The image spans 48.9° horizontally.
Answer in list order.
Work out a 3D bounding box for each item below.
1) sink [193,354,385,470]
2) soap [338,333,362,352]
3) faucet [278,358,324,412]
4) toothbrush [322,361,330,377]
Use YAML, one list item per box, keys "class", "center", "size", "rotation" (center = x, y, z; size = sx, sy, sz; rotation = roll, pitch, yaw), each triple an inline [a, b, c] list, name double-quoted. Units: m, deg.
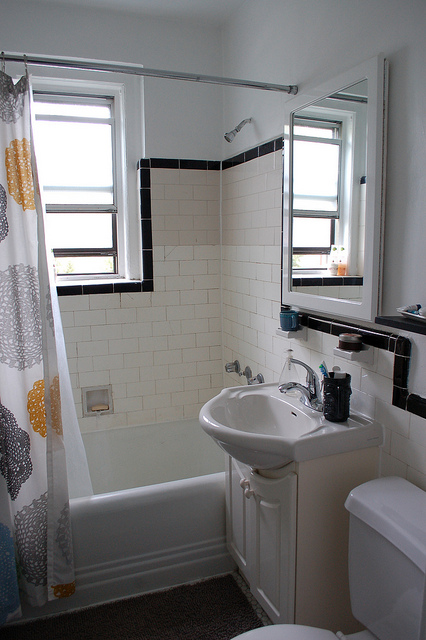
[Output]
- class: "sink"
  center: [0.228, 0.347, 1.735]
  size: [0.472, 0.450, 0.645]
  rotation: [-1, 6, -18]
- class: "soap"
  center: [0.479, 0.073, 1.629]
  size: [0.054, 0.045, 0.057]
  rotation: [6, 11, 29]
- class: "faucet"
  center: [0.343, 0.254, 1.799]
  size: [0.160, 0.208, 0.109]
  rotation: [-9, 10, -4]
- class: "toothbrush"
  center: [0.442, 0.170, 1.829]
  size: [0.026, 0.116, 0.011]
  rotation: [-18, 27, -18]
